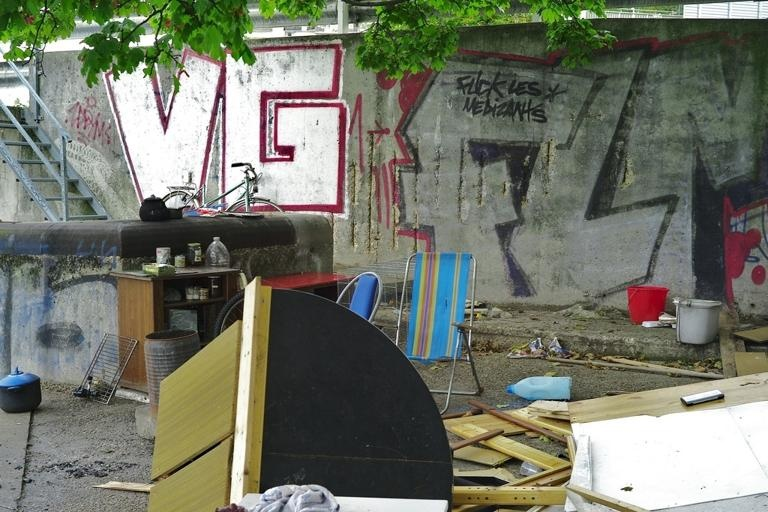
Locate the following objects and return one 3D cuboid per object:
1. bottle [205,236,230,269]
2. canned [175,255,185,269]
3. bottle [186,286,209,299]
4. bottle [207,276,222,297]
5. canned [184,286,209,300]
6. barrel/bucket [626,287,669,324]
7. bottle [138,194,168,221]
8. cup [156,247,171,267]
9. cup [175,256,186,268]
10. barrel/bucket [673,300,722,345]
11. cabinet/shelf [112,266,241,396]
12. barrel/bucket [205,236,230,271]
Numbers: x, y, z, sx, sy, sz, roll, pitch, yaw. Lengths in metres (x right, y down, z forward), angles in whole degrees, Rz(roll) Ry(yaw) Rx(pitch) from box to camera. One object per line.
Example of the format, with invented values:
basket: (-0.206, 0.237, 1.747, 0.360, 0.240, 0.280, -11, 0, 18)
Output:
bottle: (-2.197, -0.074, 12.533, 0.339, 0.405, 0.347, 0, -1, -10)
canned: (-2.583, 0.054, 12.128, 0.130, 0.156, 0.132, 1, -1, 44)
bottle: (-2.422, 0.475, 12.257, 0.178, 0.118, 0.181, 1, 3, 0)
bottle: (-2.194, 0.402, 12.381, 0.219, 0.269, 0.228, 0, -1, -4)
canned: (-2.421, 0.482, 12.271, 0.208, 0.110, 0.158, 1, 1, 18)
barrel/bucket: (3.891, 0.749, 14.185, 0.585, 0.567, 0.607, 1, 2, 0)
bottle: (-3.025, -0.639, 12.491, 0.305, 0.330, 0.318, 0, -5, -7)
cup: (-2.774, 0.004, 12.025, 0.197, 0.235, 0.200, 2, -4, 0)
cup: (-2.594, 0.066, 12.138, 0.130, 0.156, 0.132, 1, -1, 0)
barrel/bucket: (4.296, 0.888, 13.056, 0.671, 0.653, 0.611, 1, 8, 0)
cabinet/shelf: (-2.527, 0.901, 11.216, 0.841, 1.529, 1.466, 2, 4, 34)
barrel/bucket: (-2.209, -0.065, 12.527, 0.348, 0.514, 0.353, -1, 1, 0)
